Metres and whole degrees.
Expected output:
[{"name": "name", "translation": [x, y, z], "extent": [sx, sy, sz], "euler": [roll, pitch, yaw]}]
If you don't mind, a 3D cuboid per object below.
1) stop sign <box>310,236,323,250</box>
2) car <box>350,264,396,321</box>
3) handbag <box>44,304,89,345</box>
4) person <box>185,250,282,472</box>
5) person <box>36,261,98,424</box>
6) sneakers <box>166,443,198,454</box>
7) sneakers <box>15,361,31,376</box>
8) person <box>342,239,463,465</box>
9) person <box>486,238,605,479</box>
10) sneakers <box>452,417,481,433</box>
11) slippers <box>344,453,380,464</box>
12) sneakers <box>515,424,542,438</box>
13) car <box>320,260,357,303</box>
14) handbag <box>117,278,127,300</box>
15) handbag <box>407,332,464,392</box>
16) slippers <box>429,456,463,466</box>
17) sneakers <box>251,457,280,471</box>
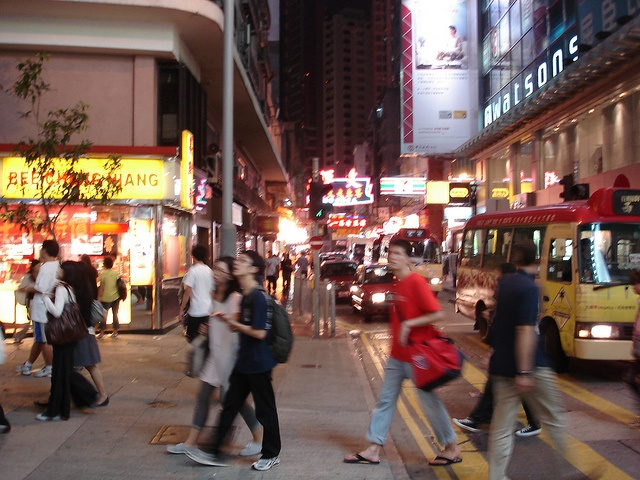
[{"name": "stop sign", "translation": [-0.117, 0.068, 14.548], "extent": [0.348, 0.359, 0.395], "euler": [0, 3, -2]}, {"name": "car", "translation": [1.680, 1.627, 17.086], "extent": [0.933, 0.937, 2.133], "euler": [-1, -2, -5]}, {"name": "handbag", "translation": [-3.362, 1.117, 7.030], "extent": [0.482, 0.753, 0.326], "euler": [-1, -12, -18]}, {"name": "person", "translation": [-0.787, 1.314, 5.847], "extent": [0.940, 2.395, 0.386], "euler": [0, 3, -5]}, {"name": "person", "translation": [-3.412, 1.362, 7.279], "extent": [0.801, 2.124, 0.595], "euler": [2, -1, -20]}, {"name": "sneakers", "translation": [-1.604, 2.365, 6.114], "extent": [0.328, 0.141, 0.132], "euler": [3, -15, 6]}, {"name": "sneakers", "translation": [-5.219, 2.235, 9.316], "extent": [0.159, 0.213, 0.440], "euler": [3, 3, -32]}, {"name": "person", "translation": [0.975, 1.275, 5.968], "extent": [1.168, 2.564, 0.633], "euler": [1, 3, 14]}, {"name": "person", "translation": [1.988, 1.194, 5.288], "extent": [0.766, 2.318, 0.570], "euler": [-1, 3, -20]}, {"name": "sneakers", "translation": [1.928, 2.435, 7.101], "extent": [0.384, 0.173, 0.120], "euler": [21, -11, 41]}, {"name": "slippers", "translation": [0.469, 2.433, 6.028], "extent": [0.349, 0.102, 0.153], "euler": [4, -15, 1]}, {"name": "sneakers", "translation": [2.634, 2.413, 6.714], "extent": [0.437, 0.186, 0.163], "euler": [1, -3, -1]}, {"name": "car", "translation": [0.855, 1.644, 22.902], "extent": [1.927, 1.830, 3.561], "euler": [0, 6, -2]}, {"name": "handbag", "translation": [-4.712, 1.140, 12.583], "extent": [0.120, 0.434, 0.305], "euler": [-1, 8, -28]}, {"name": "handbag", "translation": [1.204, 1.287, 5.740], "extent": [0.326, 0.624, 0.433], "euler": [-11, -4, -38]}, {"name": "slippers", "translation": [1.416, 2.453, 5.979], "extent": [0.302, 0.077, 0.144], "euler": [2, -8, -2]}, {"name": "sneakers", "translation": [-0.602, 2.448, 5.885], "extent": [0.298, 0.138, 0.112], "euler": [5, -1, -31]}]
